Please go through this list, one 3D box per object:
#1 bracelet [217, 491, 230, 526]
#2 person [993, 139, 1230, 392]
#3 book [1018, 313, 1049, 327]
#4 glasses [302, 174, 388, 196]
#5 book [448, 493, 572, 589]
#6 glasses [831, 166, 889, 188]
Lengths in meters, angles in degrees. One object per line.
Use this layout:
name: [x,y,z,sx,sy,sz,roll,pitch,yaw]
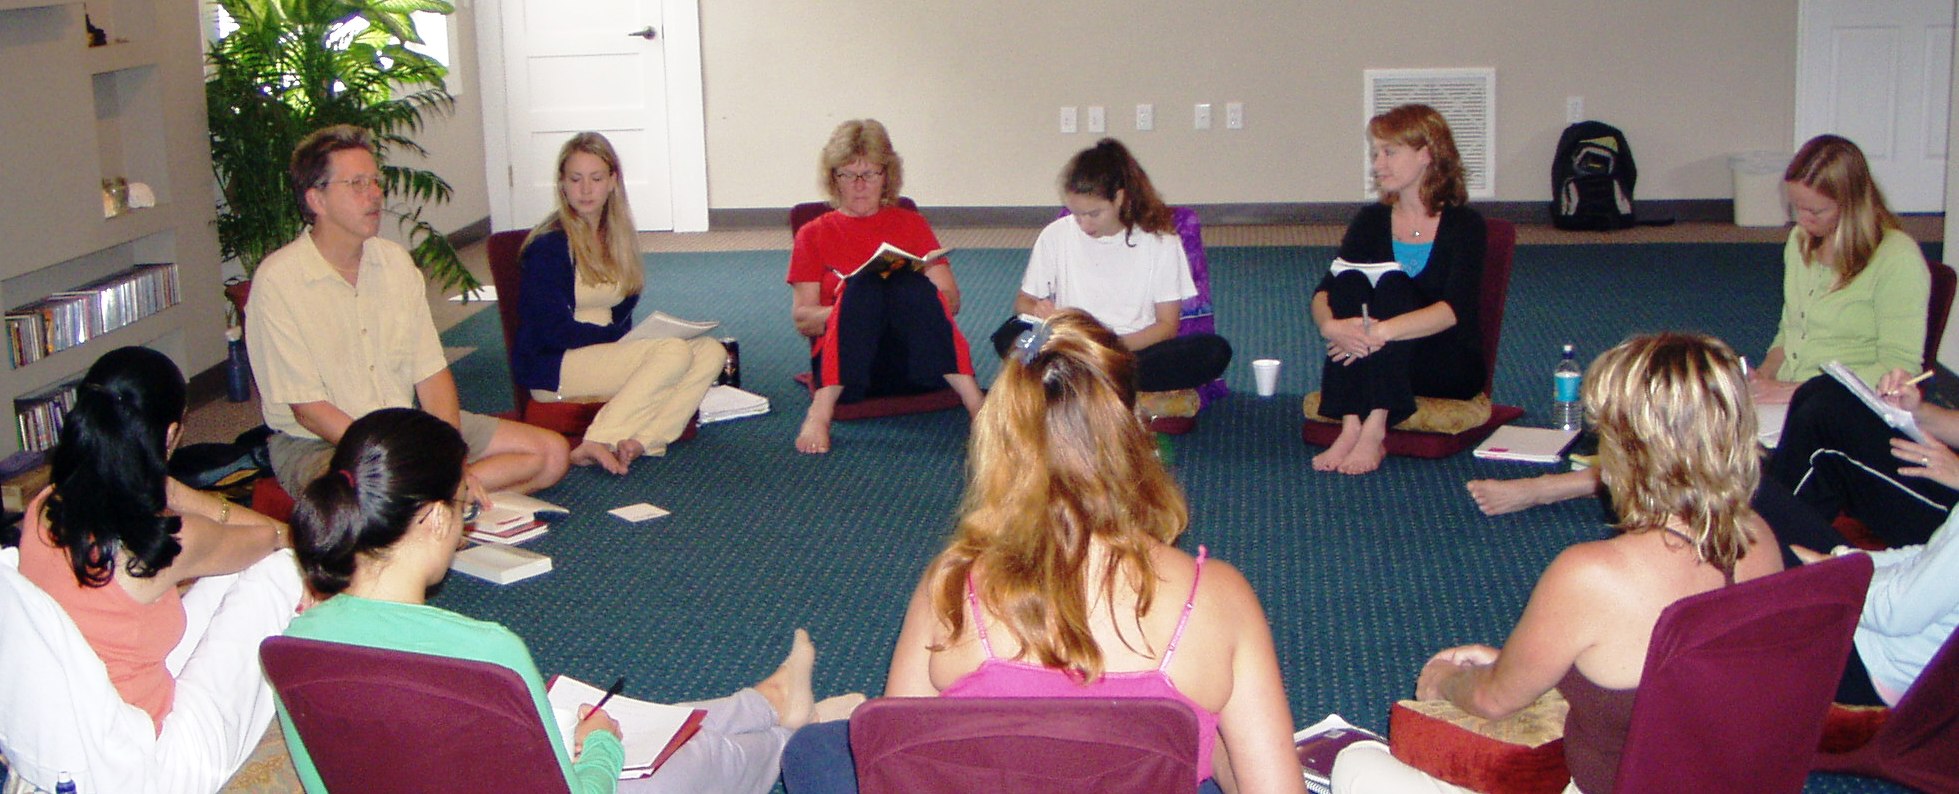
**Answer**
bracelet: [-3.474,0.518,5.151,0.076,0.104,0.109,-7,26,-35]
person: [0.772,-0.807,6.802,1.643,1.320,0.883,1,29,19]
book: [0.296,-0.463,6.673,0.226,0.056,0.193,2,0,0]
glasses: [-3.249,-1.089,5.745,0.340,0.107,0.154,-12,18,-31]
book: [-2.456,0.759,5.789,0.550,0.138,0.409,6,11,24]
glasses: [-0.730,-1.353,6.901,0.331,0.112,0.099,-4,16,-3]
